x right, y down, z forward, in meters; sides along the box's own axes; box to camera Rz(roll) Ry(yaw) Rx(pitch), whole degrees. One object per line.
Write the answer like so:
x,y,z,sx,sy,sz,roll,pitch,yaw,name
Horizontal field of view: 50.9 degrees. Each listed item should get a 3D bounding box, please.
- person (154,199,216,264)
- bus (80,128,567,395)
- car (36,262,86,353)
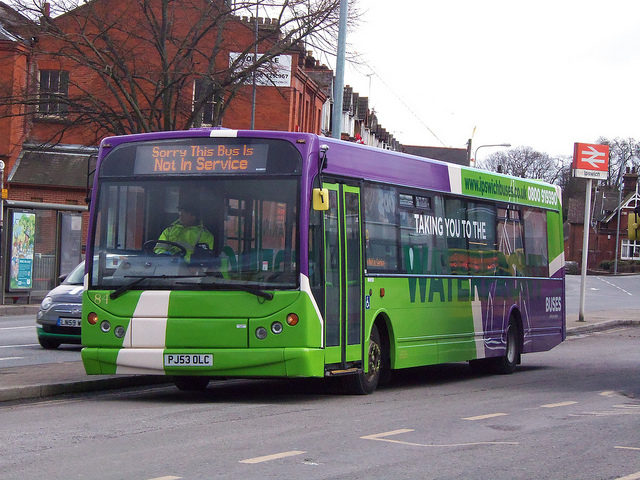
-1.834,-0.137,9.315,0.837,0.890,0.222,4,-1,23,person
1.555,0.660,13.979,3.771,4.102,11.435,-4,-5,36,bus
-6.066,1.651,15.725,0.956,2.125,1.964,4,-1,-22,car
